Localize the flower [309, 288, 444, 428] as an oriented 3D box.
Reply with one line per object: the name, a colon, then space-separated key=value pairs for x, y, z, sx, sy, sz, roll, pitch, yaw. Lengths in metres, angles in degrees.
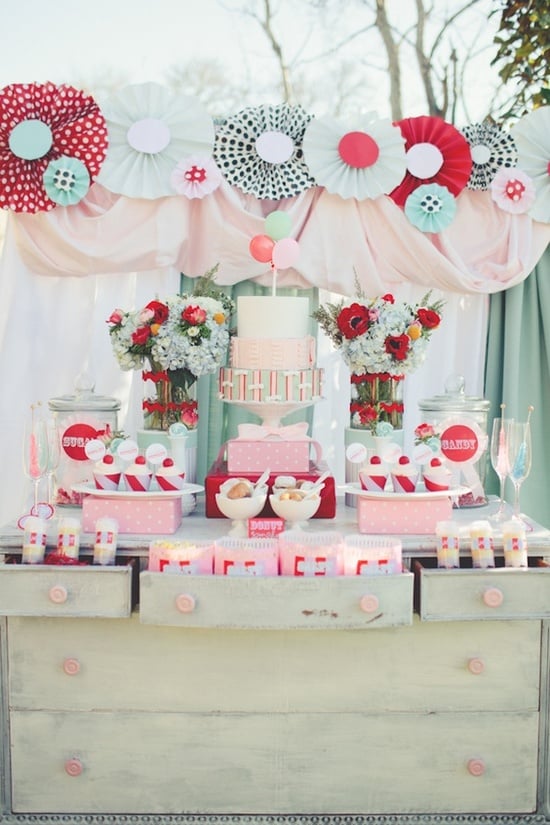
flower: x=0.261 y=-0.122 z=2.501 sx=0.336 sy=0.347 sz=0.196 roll=0 pitch=5 yaw=8

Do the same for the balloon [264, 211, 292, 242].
balloon: x=-0.002 y=-0.512 z=2.517 sx=0.065 sy=0.088 sz=0.106 roll=0 pitch=4 yaw=12

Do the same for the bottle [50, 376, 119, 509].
bottle: x=-0.527 y=0.093 z=2.549 sx=0.233 sy=0.334 sz=0.216 roll=-1 pitch=-2 yaw=0

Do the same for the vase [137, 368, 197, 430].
vase: x=-0.324 y=-0.049 z=2.644 sx=0.193 sy=0.184 sz=0.181 roll=-2 pitch=-1 yaw=18

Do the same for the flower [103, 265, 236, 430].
flower: x=-0.313 y=-0.150 z=2.602 sx=0.372 sy=0.374 sz=0.311 roll=2 pitch=15 yaw=18

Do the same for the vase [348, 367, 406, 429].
vase: x=0.272 y=-0.025 z=2.608 sx=0.165 sy=0.163 sz=0.158 roll=5 pitch=-9 yaw=-24
